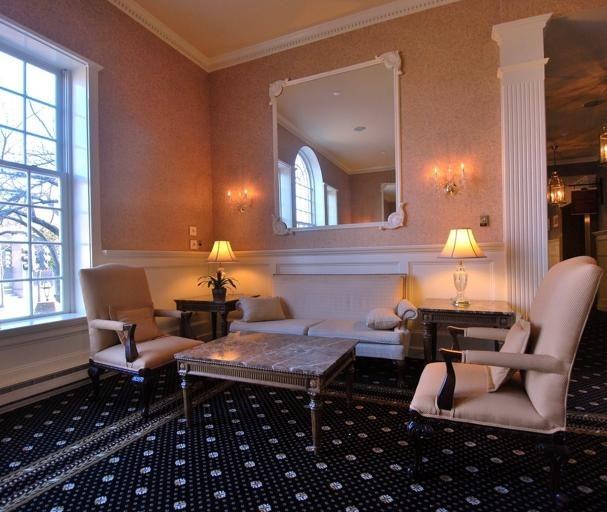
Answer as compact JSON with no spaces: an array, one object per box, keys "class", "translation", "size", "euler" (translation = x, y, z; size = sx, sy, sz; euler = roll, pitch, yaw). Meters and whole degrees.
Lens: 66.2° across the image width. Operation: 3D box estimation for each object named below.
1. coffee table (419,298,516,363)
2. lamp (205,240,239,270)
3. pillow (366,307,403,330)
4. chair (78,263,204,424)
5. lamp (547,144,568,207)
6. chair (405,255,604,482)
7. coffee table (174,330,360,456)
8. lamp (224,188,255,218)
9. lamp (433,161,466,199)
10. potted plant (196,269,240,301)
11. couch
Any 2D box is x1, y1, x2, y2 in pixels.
[{"class":"coffee table","translation":[1.457,0.736,4.179],"size":[0.756,0.515,0.578],"euler":[0,-4,23]},{"class":"lamp","translation":[-0.903,-0.028,5.334],"size":[0.391,0.356,0.375],"euler":[-1,4,1]},{"class":"pillow","translation":[0.706,0.572,4.170],"size":[0.281,0.146,0.275],"euler":[-3,12,-9]},{"class":"chair","translation":[-1.354,0.643,3.927],"size":[0.896,1.023,0.718],"euler":[7,8,24]},{"class":"lamp","translation":[4.175,-1.353,7.630],"size":[0.244,0.945,1.954],"euler":[6,14,27]},{"class":"chair","translation":[1.420,0.619,3.435],"size":[1.435,1.579,1.284],"euler":[0,-3,22]},{"class":"coffee table","translation":[-0.269,0.934,3.497],"size":[1.126,0.569,0.874],"euler":[4,13,20]},{"class":"lamp","translation":[-0.759,-0.659,5.603],"size":[0.350,0.318,0.104],"euler":[7,16,31]},{"class":"lamp","translation":[1.459,-0.754,4.622],"size":[0.341,0.301,0.341],"euler":[1,5,40]},{"class":"potted plant","translation":[-0.922,0.309,5.027],"size":[0.443,0.280,0.400],"euler":[2,2,19]},{"class":"couch","translation":[0.181,0.661,4.627],"size":[1.821,0.823,0.821],"euler":[0,7,24]}]
